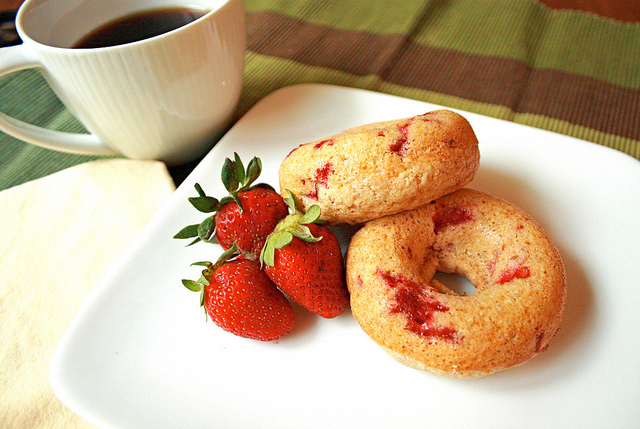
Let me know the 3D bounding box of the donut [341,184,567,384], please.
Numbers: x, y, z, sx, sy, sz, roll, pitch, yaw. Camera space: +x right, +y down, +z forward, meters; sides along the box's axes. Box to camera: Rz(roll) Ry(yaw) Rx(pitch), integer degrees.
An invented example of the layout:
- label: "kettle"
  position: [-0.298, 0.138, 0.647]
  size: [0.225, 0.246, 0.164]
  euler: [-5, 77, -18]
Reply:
- label: "donut"
  position: [0.271, 0.141, 1.176]
  size: [0.424, 0.107, 0.368]
  euler: [-20, 69, -4]

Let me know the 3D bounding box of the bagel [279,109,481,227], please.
- label: "bagel"
  position: [0.111, -0.141, 1.250]
  size: [0.401, 0.224, 0.271]
  euler: [-7, 26, -15]
